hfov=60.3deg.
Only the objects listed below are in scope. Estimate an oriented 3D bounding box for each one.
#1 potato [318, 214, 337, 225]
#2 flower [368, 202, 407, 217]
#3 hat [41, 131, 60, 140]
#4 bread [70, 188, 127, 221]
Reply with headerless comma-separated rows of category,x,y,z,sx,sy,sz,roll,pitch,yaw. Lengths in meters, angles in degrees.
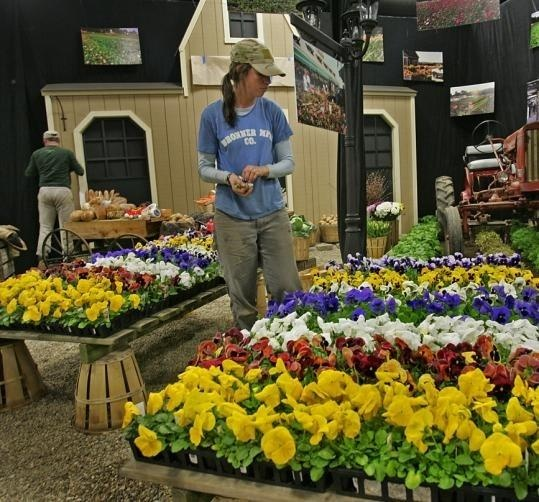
potato,1.120,-0.616,8.959,0.334,0.159,0.736,-5,7,6
flower,2.146,-0.773,8.496,0.456,0.278,0.416,-10,7,6
hat,-3.305,-1.756,6.966,0.199,0.079,0.265,-10,19,-36
bread,-2.433,-0.641,6.619,0.708,0.304,0.630,3,5,35
